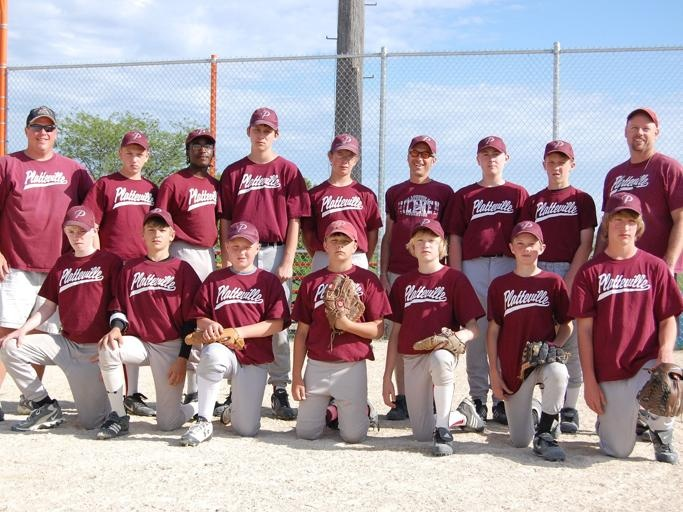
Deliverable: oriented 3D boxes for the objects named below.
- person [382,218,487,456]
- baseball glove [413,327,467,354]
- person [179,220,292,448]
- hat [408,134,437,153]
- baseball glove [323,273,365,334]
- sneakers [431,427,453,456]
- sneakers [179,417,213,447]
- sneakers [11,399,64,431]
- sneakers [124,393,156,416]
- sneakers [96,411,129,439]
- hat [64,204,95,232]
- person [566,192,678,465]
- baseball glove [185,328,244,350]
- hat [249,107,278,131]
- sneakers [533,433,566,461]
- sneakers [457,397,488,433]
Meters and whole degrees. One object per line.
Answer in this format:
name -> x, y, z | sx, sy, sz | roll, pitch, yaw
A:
person -> 0.716, 0.624, 7.338 | 0.771, 1.909, 0.652 | 0, -2, 35
baseball glove -> 0.805, 0.705, 7.125 | 0.335, 0.149, 0.220 | 9, 12, 1
person -> -0.922, 0.620, 7.414 | 0.955, 1.819, 0.446 | 3, -2, -38
hat -> 0.746, -1.027, 8.113 | 0.233, 0.166, 0.242 | 1, -2, 0
baseball glove -> 0.042, 0.393, 7.170 | 0.366, 0.426, 0.185 | -28, 8, -11
sneakers -> 0.812, 1.474, 6.966 | 0.095, 0.104, 0.265 | 2, 27, 3
sneakers -> -1.166, 1.417, 7.018 | 0.117, 0.148, 0.342 | 23, -2, 11
sneakers -> -2.512, 1.356, 7.379 | 0.461, 0.228, 0.167 | -8, 6, -26
sneakers -> -1.802, 1.348, 7.907 | 0.382, 0.167, 0.143 | 0, 1, 40
sneakers -> -1.877, 1.398, 7.219 | 0.238, 0.192, 0.282 | 1, -2, -9
hat -> -2.246, -0.326, 7.499 | 0.189, 0.127, 0.241 | 3, 2, -4
person -> 2.269, 0.541, 7.020 | 0.814, 2.115, 0.371 | 0, -2, 21
baseball glove -> -1.036, 0.696, 7.259 | 0.360, 0.113, 0.215 | -2, -11, -9
hat -> -0.709, -1.268, 8.069 | 0.237, 0.187, 0.241 | 1, -2, -11
sneakers -> 1.622, 1.502, 6.885 | 0.118, 0.127, 0.309 | -1, 8, -7
sneakers -> 1.129, 1.392, 7.600 | 0.120, 0.262, 0.089 | -36, -4, -34
